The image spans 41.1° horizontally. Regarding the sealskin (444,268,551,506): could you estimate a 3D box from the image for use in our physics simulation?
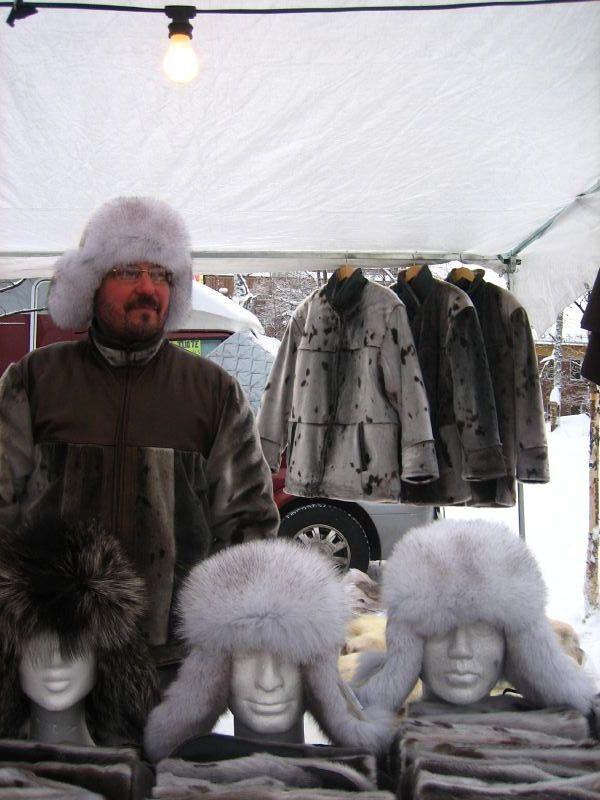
[{"bbox_3d":[0.773,-0.096,3.126,0.273,0.977,0.317,-5,9,-4],"label":"sealskin"}]

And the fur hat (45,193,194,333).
[{"bbox_3d":[-0.473,-0.379,2.099,0.318,0.364,0.314,-4,11,-22],"label":"fur hat"}]

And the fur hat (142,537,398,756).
[{"bbox_3d":[-0.073,0.421,1.418,0.434,0.412,0.332,1,-11,-10],"label":"fur hat"}]
